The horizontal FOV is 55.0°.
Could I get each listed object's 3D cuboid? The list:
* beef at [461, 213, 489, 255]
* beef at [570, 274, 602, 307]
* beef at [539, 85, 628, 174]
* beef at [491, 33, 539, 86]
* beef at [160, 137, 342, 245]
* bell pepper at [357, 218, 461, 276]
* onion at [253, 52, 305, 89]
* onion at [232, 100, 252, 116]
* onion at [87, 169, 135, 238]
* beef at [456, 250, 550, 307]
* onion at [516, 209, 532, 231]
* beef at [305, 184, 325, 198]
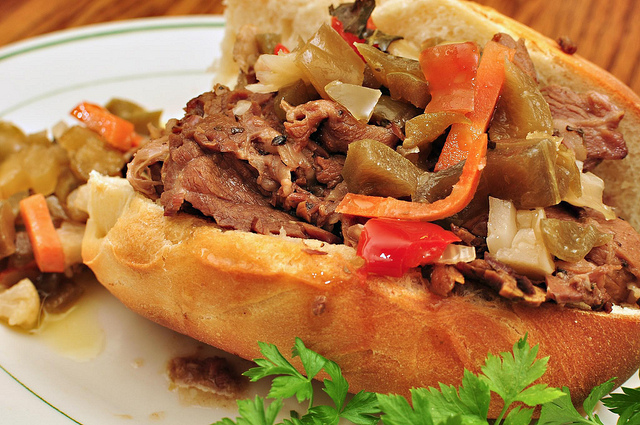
[{"bbox_3d":[0.818,0.095,3.211,0.059,0.164,0.176,23,74,-15],"label":"beef"},{"bbox_3d":[1.344,0.398,3.096,0.172,0.062,0.127,51,54,-9],"label":"beef"},{"bbox_3d":[1.529,-0.482,3.736,0.442,0.507,0.374,-16,79,-5],"label":"beef"},{"bbox_3d":[1.125,-0.942,3.653,0.242,0.245,0.343,-5,50,7],"label":"beef"},{"bbox_3d":[-0.329,0.007,3.411,0.927,0.523,0.225,8,75,-1],"label":"beef"},{"bbox_3d":[0.442,0.158,3.138,0.528,0.195,0.327,-3,30,-9],"label":"bell pepper"},{"bbox_3d":[-0.245,-0.796,3.434,0.302,0.195,0.167,20,35,40],"label":"onion"},{"bbox_3d":[-0.436,-0.588,3.431,0.074,0.022,0.111,26,63,28],"label":"onion"},{"bbox_3d":[-1.246,-0.082,3.653,0.269,0.430,0.233,-9,27,-6],"label":"onion"},{"bbox_3d":[0.901,0.331,3.050,0.180,0.145,0.417,-40,55,-22],"label":"beef"},{"bbox_3d":[1.046,0.043,3.150,0.078,0.054,0.100,7,67,5],"label":"onion"},{"bbox_3d":[-0.023,-0.118,3.335,0.094,0.022,0.058,29,73,-4],"label":"beef"}]
